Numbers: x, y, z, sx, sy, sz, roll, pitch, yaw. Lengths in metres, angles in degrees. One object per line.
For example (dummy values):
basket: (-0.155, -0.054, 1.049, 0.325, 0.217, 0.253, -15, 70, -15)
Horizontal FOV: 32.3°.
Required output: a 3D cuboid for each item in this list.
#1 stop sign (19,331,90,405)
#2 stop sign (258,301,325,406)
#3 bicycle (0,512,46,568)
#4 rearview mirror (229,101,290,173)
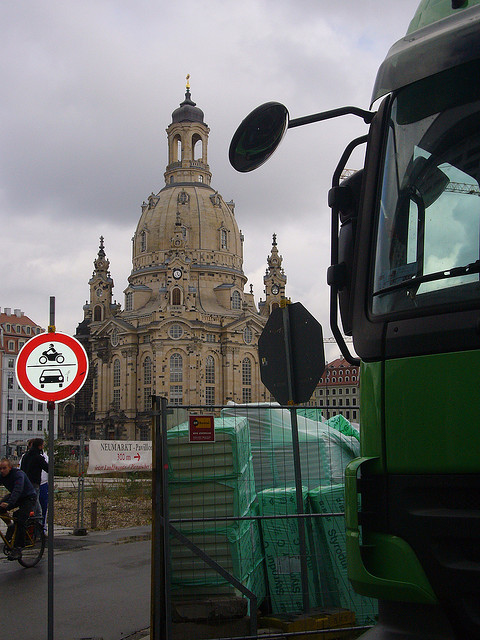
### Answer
stop sign: (-1.570, 0.388, 6.890, 0.531, 0.610, 0.016, 0, -7, -16)
stop sign: (0.439, 0.282, 7.313, 0.320, 0.913, 0.932, 3, -9, -30)
bicycle: (-2.994, 3.183, 11.842, 0.421, 0.607, 0.938, -11, -36, 21)
rearview mirror: (0.085, -1.038, 4.775, 0.288, 0.304, 0.432, 3, -10, -30)
